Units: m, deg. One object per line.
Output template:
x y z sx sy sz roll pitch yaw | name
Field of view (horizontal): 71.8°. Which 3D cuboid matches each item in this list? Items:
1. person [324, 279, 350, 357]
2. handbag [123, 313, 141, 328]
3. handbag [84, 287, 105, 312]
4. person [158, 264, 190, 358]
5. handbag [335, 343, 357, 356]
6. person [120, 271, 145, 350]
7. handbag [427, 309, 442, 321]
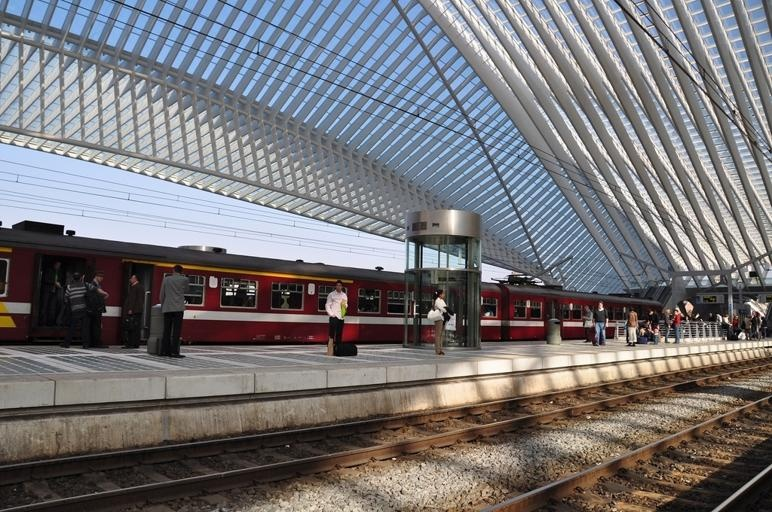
-1.452 1.807 15.200 0.562 1.868 1.192 6 1 -6 | person
-7.948 2.003 16.527 0.281 0.571 0.478 5 10 27 | handbag
-8.343 1.283 15.278 0.292 0.534 0.522 7 2 25 | handbag
-5.318 1.414 13.216 0.664 1.778 0.946 6 2 -19 | person
-1.184 2.767 15.700 0.603 0.358 0.434 7 -13 -44 | handbag
-7.867 1.767 16.492 0.528 1.703 0.780 5 2 -26 | person
1.586 1.903 17.041 0.427 0.344 0.372 -2 -2 -27 | handbag
